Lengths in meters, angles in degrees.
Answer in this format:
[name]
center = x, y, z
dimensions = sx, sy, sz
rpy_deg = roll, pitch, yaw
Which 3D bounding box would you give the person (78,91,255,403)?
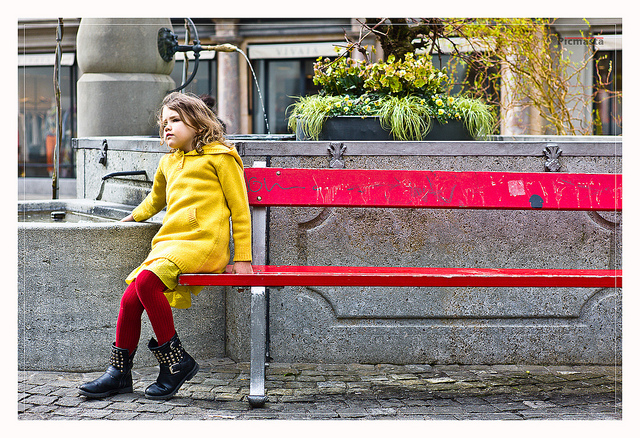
[person]
center = -1.083, 0.179, 7.717
dimensions = 1.188, 2.319, 0.720
rpy_deg = -1, 6, -4

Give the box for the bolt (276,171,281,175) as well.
[bolt]
center = -0.308, -0.371, 7.788
dimensions = 0.030, 0.022, 0.026
rpy_deg = -4, 12, 40

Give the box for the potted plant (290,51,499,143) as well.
[potted plant]
center = 0.147, -1.128, 9.023
dimensions = 1.984, 0.606, 1.653
rpy_deg = -4, 16, -39

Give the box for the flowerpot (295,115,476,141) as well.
[flowerpot]
center = 0.530, -0.784, 8.424
dimensions = 1.333, 0.219, 0.305
rpy_deg = -1, 5, -4

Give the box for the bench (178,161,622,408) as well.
[bench]
center = 0.635, 0.453, 7.754
dimensions = 3.033, 1.821, 0.717
rpy_deg = -1, 6, -2
